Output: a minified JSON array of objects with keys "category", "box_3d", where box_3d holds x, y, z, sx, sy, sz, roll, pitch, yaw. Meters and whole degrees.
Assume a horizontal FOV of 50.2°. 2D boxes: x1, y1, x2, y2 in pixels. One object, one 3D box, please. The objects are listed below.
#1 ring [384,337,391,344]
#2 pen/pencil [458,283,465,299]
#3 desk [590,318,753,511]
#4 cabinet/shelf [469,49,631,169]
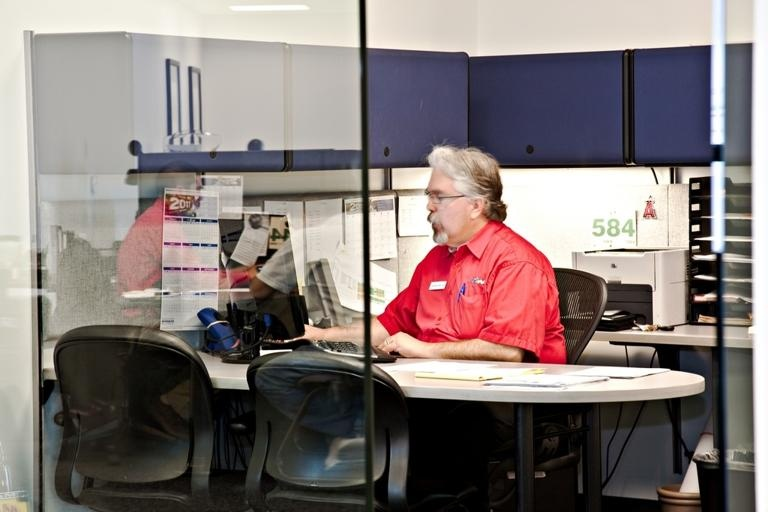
[{"category":"ring","box_3d":[0.010,0.244,2.365,0.008,0.020,0.020,36,0,5]},{"category":"pen/pencil","box_3d":[0.240,0.103,2.507,0.009,0.034,0.019,15,-13,-31]},{"category":"desk","box_3d":[1.000,0.434,2.785,0.672,0.614,0.668,-1,1,29]},{"category":"cabinet/shelf","box_3d":[0.666,-0.576,3.302,0.780,0.497,0.413,0,-1,22]}]
